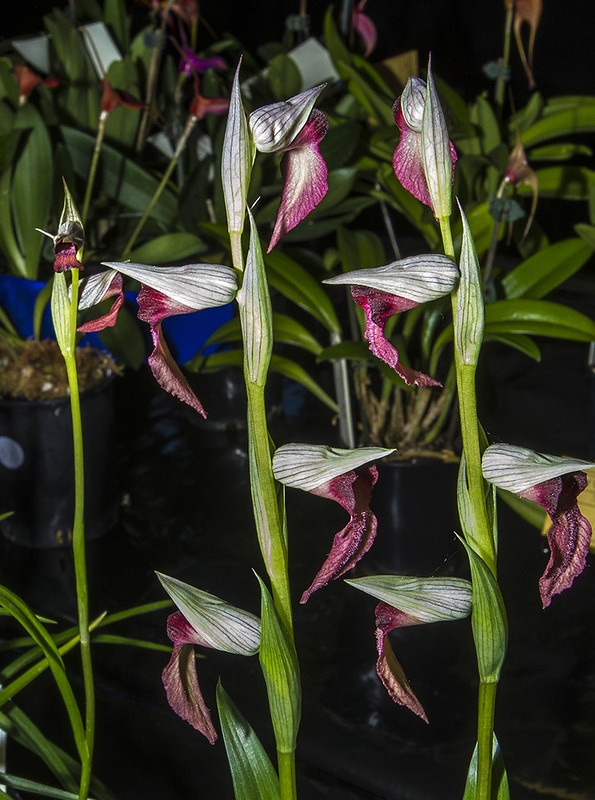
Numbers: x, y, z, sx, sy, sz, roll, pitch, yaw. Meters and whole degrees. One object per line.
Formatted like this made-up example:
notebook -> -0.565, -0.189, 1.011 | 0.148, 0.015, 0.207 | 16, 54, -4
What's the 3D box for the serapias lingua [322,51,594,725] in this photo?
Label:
serapias lingua -> 0.067, 0.017, 0.324 | 0.107, 0.282, 0.115 | 2, 18, 5
